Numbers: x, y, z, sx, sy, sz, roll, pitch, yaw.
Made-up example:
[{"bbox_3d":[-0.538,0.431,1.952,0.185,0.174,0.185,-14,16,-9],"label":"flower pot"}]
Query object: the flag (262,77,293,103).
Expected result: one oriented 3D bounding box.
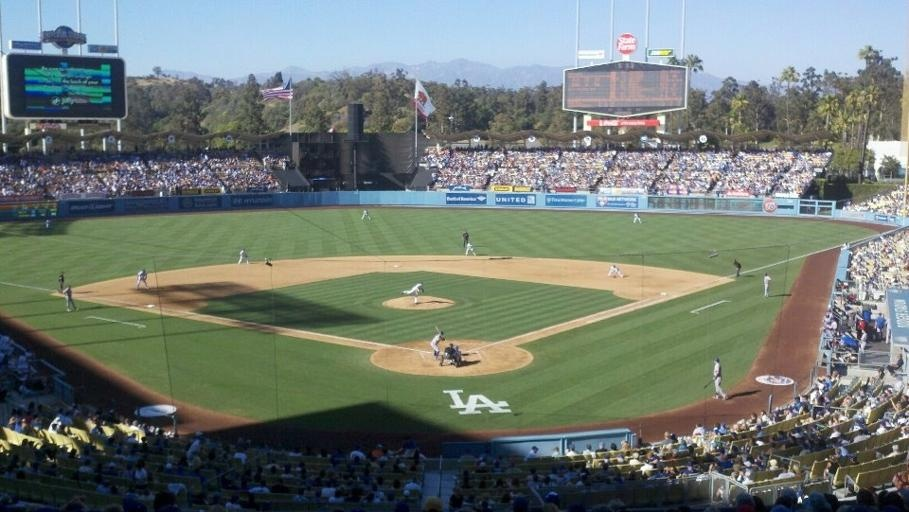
[{"bbox_3d":[-24.051,-22.825,175.314,3.599,2.732,9.305,-1,6,-10],"label":"flag"}]
